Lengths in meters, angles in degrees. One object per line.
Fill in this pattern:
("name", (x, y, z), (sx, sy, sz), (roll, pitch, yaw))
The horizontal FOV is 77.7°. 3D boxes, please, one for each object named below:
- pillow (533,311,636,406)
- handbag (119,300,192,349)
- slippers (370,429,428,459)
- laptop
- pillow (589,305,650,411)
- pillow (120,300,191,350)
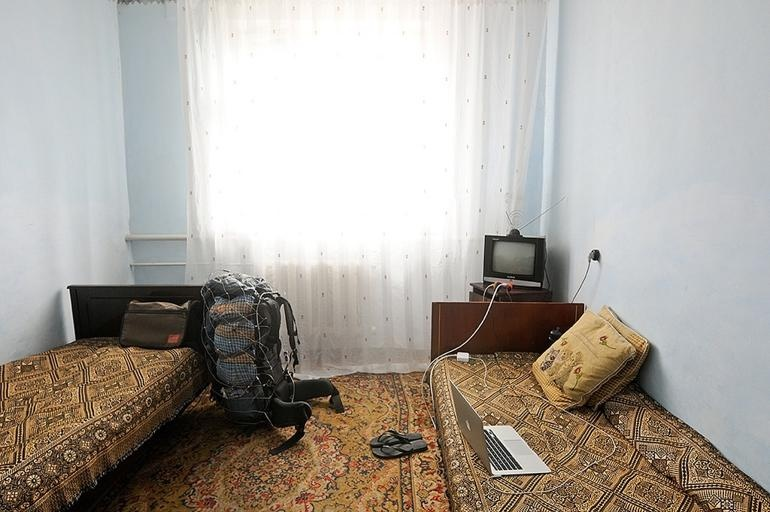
("pillow", (1.216, 0.675, 2.992), (0.159, 0.501, 0.538), (36, 2, -16))
("handbag", (-1.655, 0.530, 3.674), (0.527, 0.403, 0.410), (0, 4, 9))
("slippers", (0.090, 1.262, 3.191), (0.246, 0.061, 0.179), (-2, 6, -12))
("laptop", (0.634, 0.924, 2.656), (0.439, 0.331, 0.515), (-2, 8, -18))
("pillow", (1.343, 0.632, 2.925), (0.143, 0.473, 0.474), (29, 11, -16))
("pillow", (-1.664, 0.503, 3.545), (0.408, 0.317, 0.305), (2, -6, 4))
